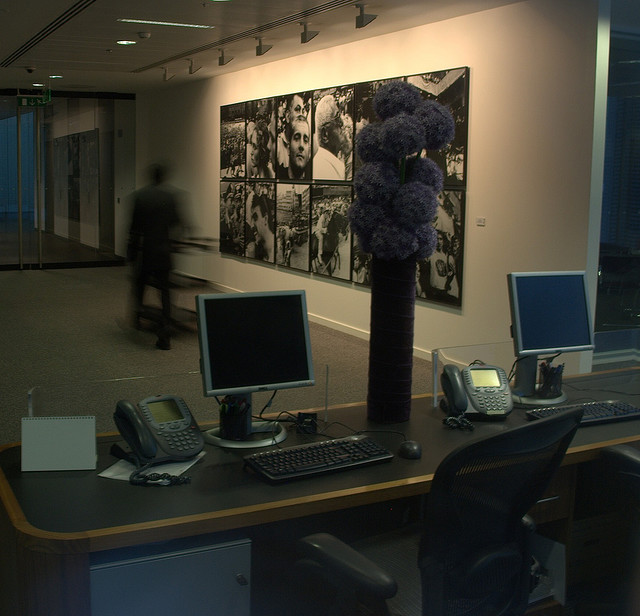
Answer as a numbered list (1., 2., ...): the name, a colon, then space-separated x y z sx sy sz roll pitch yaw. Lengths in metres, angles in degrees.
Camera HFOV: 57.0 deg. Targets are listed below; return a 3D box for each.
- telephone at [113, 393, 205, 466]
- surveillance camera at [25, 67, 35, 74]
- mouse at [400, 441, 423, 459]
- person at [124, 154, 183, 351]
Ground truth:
1. telephone: -0.518 0.384 1.885 0.283 0.114 0.288 19 12 36
2. surveillance camera: -4.907 -3.982 9.863 0.130 0.059 0.136 -1 5 -3
3. mouse: 0.304 0.463 1.939 0.047 0.046 0.051 1 4 1
4. person: -1.959 -0.597 6.975 0.600 2.119 1.047 -1 7 -18
